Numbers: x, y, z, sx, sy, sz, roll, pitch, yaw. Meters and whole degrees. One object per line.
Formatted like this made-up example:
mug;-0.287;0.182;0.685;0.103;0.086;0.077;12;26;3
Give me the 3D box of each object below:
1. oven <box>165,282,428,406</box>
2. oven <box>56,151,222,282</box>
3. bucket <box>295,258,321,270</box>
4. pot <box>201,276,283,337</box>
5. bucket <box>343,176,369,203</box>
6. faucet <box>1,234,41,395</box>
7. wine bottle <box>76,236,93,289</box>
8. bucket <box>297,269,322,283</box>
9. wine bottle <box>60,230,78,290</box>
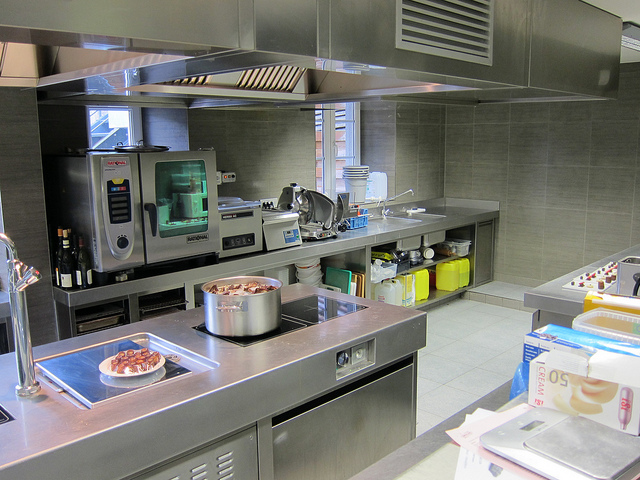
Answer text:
oven;-0.083;0.408;2.350;0.994;0.423;0.717;-10;16;-41
oven;-1.297;-0.202;3.421;0.681;0.843;0.980;8;14;31
bucket;-0.093;0.205;4.345;0.246;0.096;0.140;-5;14;-25
pot;-0.346;0.299;2.171;0.334;0.210;0.329;0;12;0
bucket;0.410;-0.582;5.435;0.309;0.291;0.311;-2;14;0
faucet;-0.987;0.253;1.602;0.105;0.581;0.143;-10;17;-36
wine bottle;-1.494;0.138;3.027;0.089;0.307;0.170;-5;14;-21
bucket;-0.089;0.319;4.367;0.129;0.092;0.138;-10;8;1
wine bottle;-1.570;0.121;2.987;0.095;0.358;0.144;-7;15;-28
